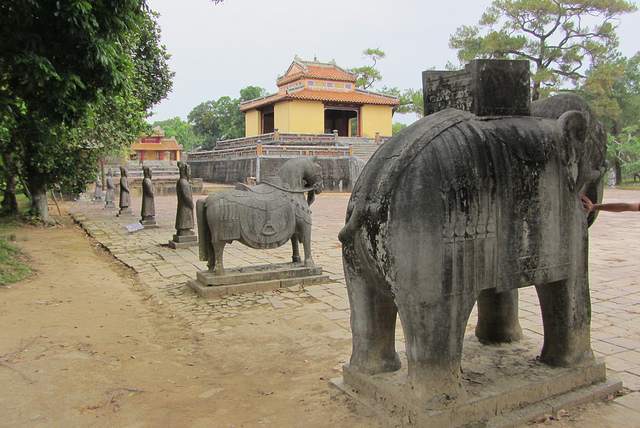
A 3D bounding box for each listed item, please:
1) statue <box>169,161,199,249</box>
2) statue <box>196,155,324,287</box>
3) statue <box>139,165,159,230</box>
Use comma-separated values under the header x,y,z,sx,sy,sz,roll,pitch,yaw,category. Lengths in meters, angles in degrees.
x,y,z,sx,sy,sz,roll,pitch,yaw,category
-2.953,-0.198,11.431,0.577,1.817,1.037,0,5,-13,statue
-0.954,0.071,8.625,2.315,1.886,0.867,-3,2,-31,statue
-4.706,-0.480,14.630,0.484,1.650,2.263,0,6,-17,statue
